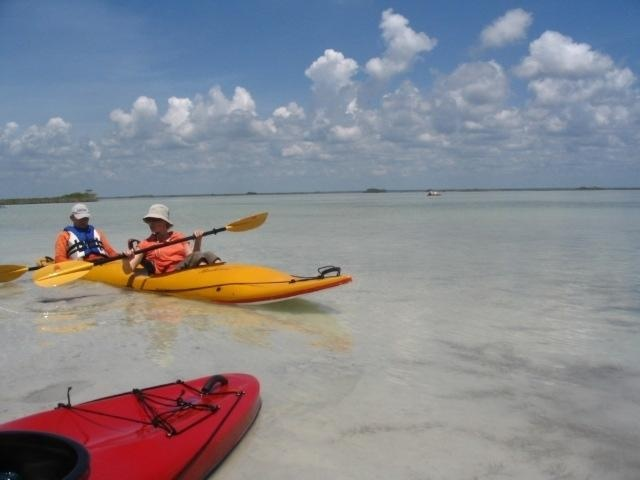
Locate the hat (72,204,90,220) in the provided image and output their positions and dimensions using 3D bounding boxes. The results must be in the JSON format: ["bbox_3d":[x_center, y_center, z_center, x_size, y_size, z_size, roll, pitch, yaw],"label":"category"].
[{"bbox_3d":[-4.727,-0.569,9.207,0.275,0.207,0.408,0,7,-40],"label":"hat"}]

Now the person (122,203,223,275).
[{"bbox_3d":[-2.851,0.053,8.149,1.809,0.699,1.031,-2,24,22],"label":"person"}]
